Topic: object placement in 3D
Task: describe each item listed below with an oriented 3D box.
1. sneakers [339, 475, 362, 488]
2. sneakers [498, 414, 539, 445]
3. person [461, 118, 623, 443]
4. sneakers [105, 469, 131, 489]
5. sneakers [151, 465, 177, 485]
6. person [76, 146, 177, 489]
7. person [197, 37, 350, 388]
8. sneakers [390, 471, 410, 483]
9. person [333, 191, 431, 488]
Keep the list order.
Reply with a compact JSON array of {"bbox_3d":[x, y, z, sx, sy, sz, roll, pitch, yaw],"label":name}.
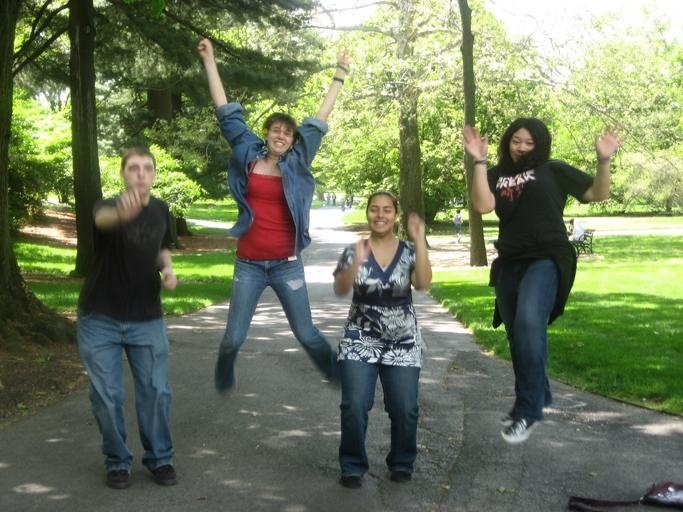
[{"bbox_3d":[0.067,1.688,4.753,0.135,0.084,0.132,2,11,2],"label":"sneakers"},{"bbox_3d":[1.516,1.477,5.458,0.277,0.280,0.357,1,5,11],"label":"sneakers"},{"bbox_3d":[1.623,0.194,5.478,1.223,2.830,0.690,2,5,22],"label":"person"},{"bbox_3d":[-1.681,1.665,4.748,0.176,0.112,0.138,-1,5,-11],"label":"sneakers"},{"bbox_3d":[-1.336,1.669,4.829,0.092,0.090,0.230,0,7,-31],"label":"sneakers"},{"bbox_3d":[-1.614,0.444,4.793,0.708,2.549,0.507,-2,5,-24],"label":"person"},{"bbox_3d":[-0.654,-0.269,6.004,1.244,3.263,0.909,-1,5,-12],"label":"person"},{"bbox_3d":[0.448,1.682,4.845,0.113,0.044,0.085,-1,-6,9],"label":"sneakers"},{"bbox_3d":[0.320,0.597,4.980,0.754,2.228,0.630,0,5,-4],"label":"person"}]
